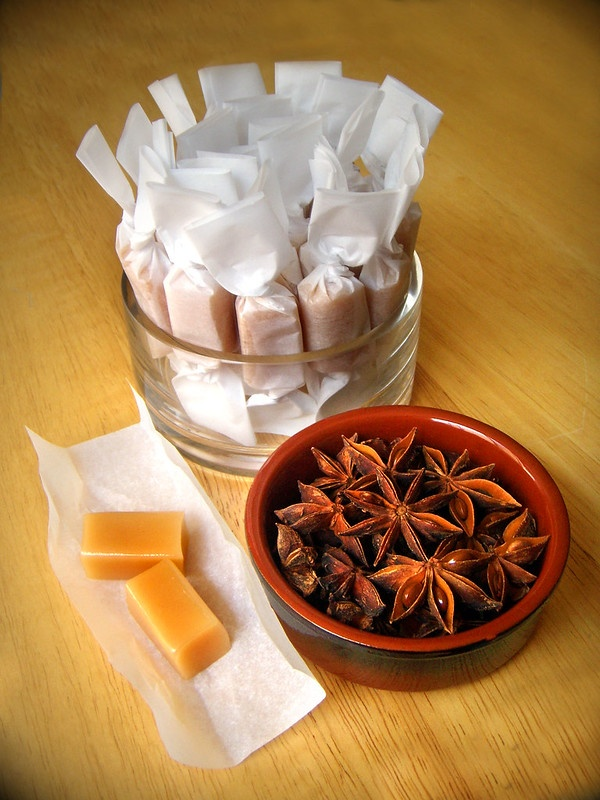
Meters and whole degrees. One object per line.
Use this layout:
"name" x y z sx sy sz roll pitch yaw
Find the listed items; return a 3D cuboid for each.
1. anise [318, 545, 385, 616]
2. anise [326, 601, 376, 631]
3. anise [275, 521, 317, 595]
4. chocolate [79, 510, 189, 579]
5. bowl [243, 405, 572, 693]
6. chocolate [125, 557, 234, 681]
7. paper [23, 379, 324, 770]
"anise" 0.039 0.126 0.526 0.036 0.018 0.054 -21 48 -4
"anise" 0.033 0.150 0.517 0.029 0.009 0.017 6 52 -27
"anise" -0.001 0.116 0.546 0.027 0.032 0.052 -13 55 -2
"chocolate" -0.141 0.105 0.599 0.088 0.036 0.055 1 45 -2
"bowl" 0.072 0.097 0.568 0.206 0.086 0.203 -13 46 14
"chocolate" -0.097 0.164 0.594 0.055 0.028 0.090 -29 52 -27
"paper" -0.116 0.141 0.623 0.150 0.052 0.363 -29 51 -16
